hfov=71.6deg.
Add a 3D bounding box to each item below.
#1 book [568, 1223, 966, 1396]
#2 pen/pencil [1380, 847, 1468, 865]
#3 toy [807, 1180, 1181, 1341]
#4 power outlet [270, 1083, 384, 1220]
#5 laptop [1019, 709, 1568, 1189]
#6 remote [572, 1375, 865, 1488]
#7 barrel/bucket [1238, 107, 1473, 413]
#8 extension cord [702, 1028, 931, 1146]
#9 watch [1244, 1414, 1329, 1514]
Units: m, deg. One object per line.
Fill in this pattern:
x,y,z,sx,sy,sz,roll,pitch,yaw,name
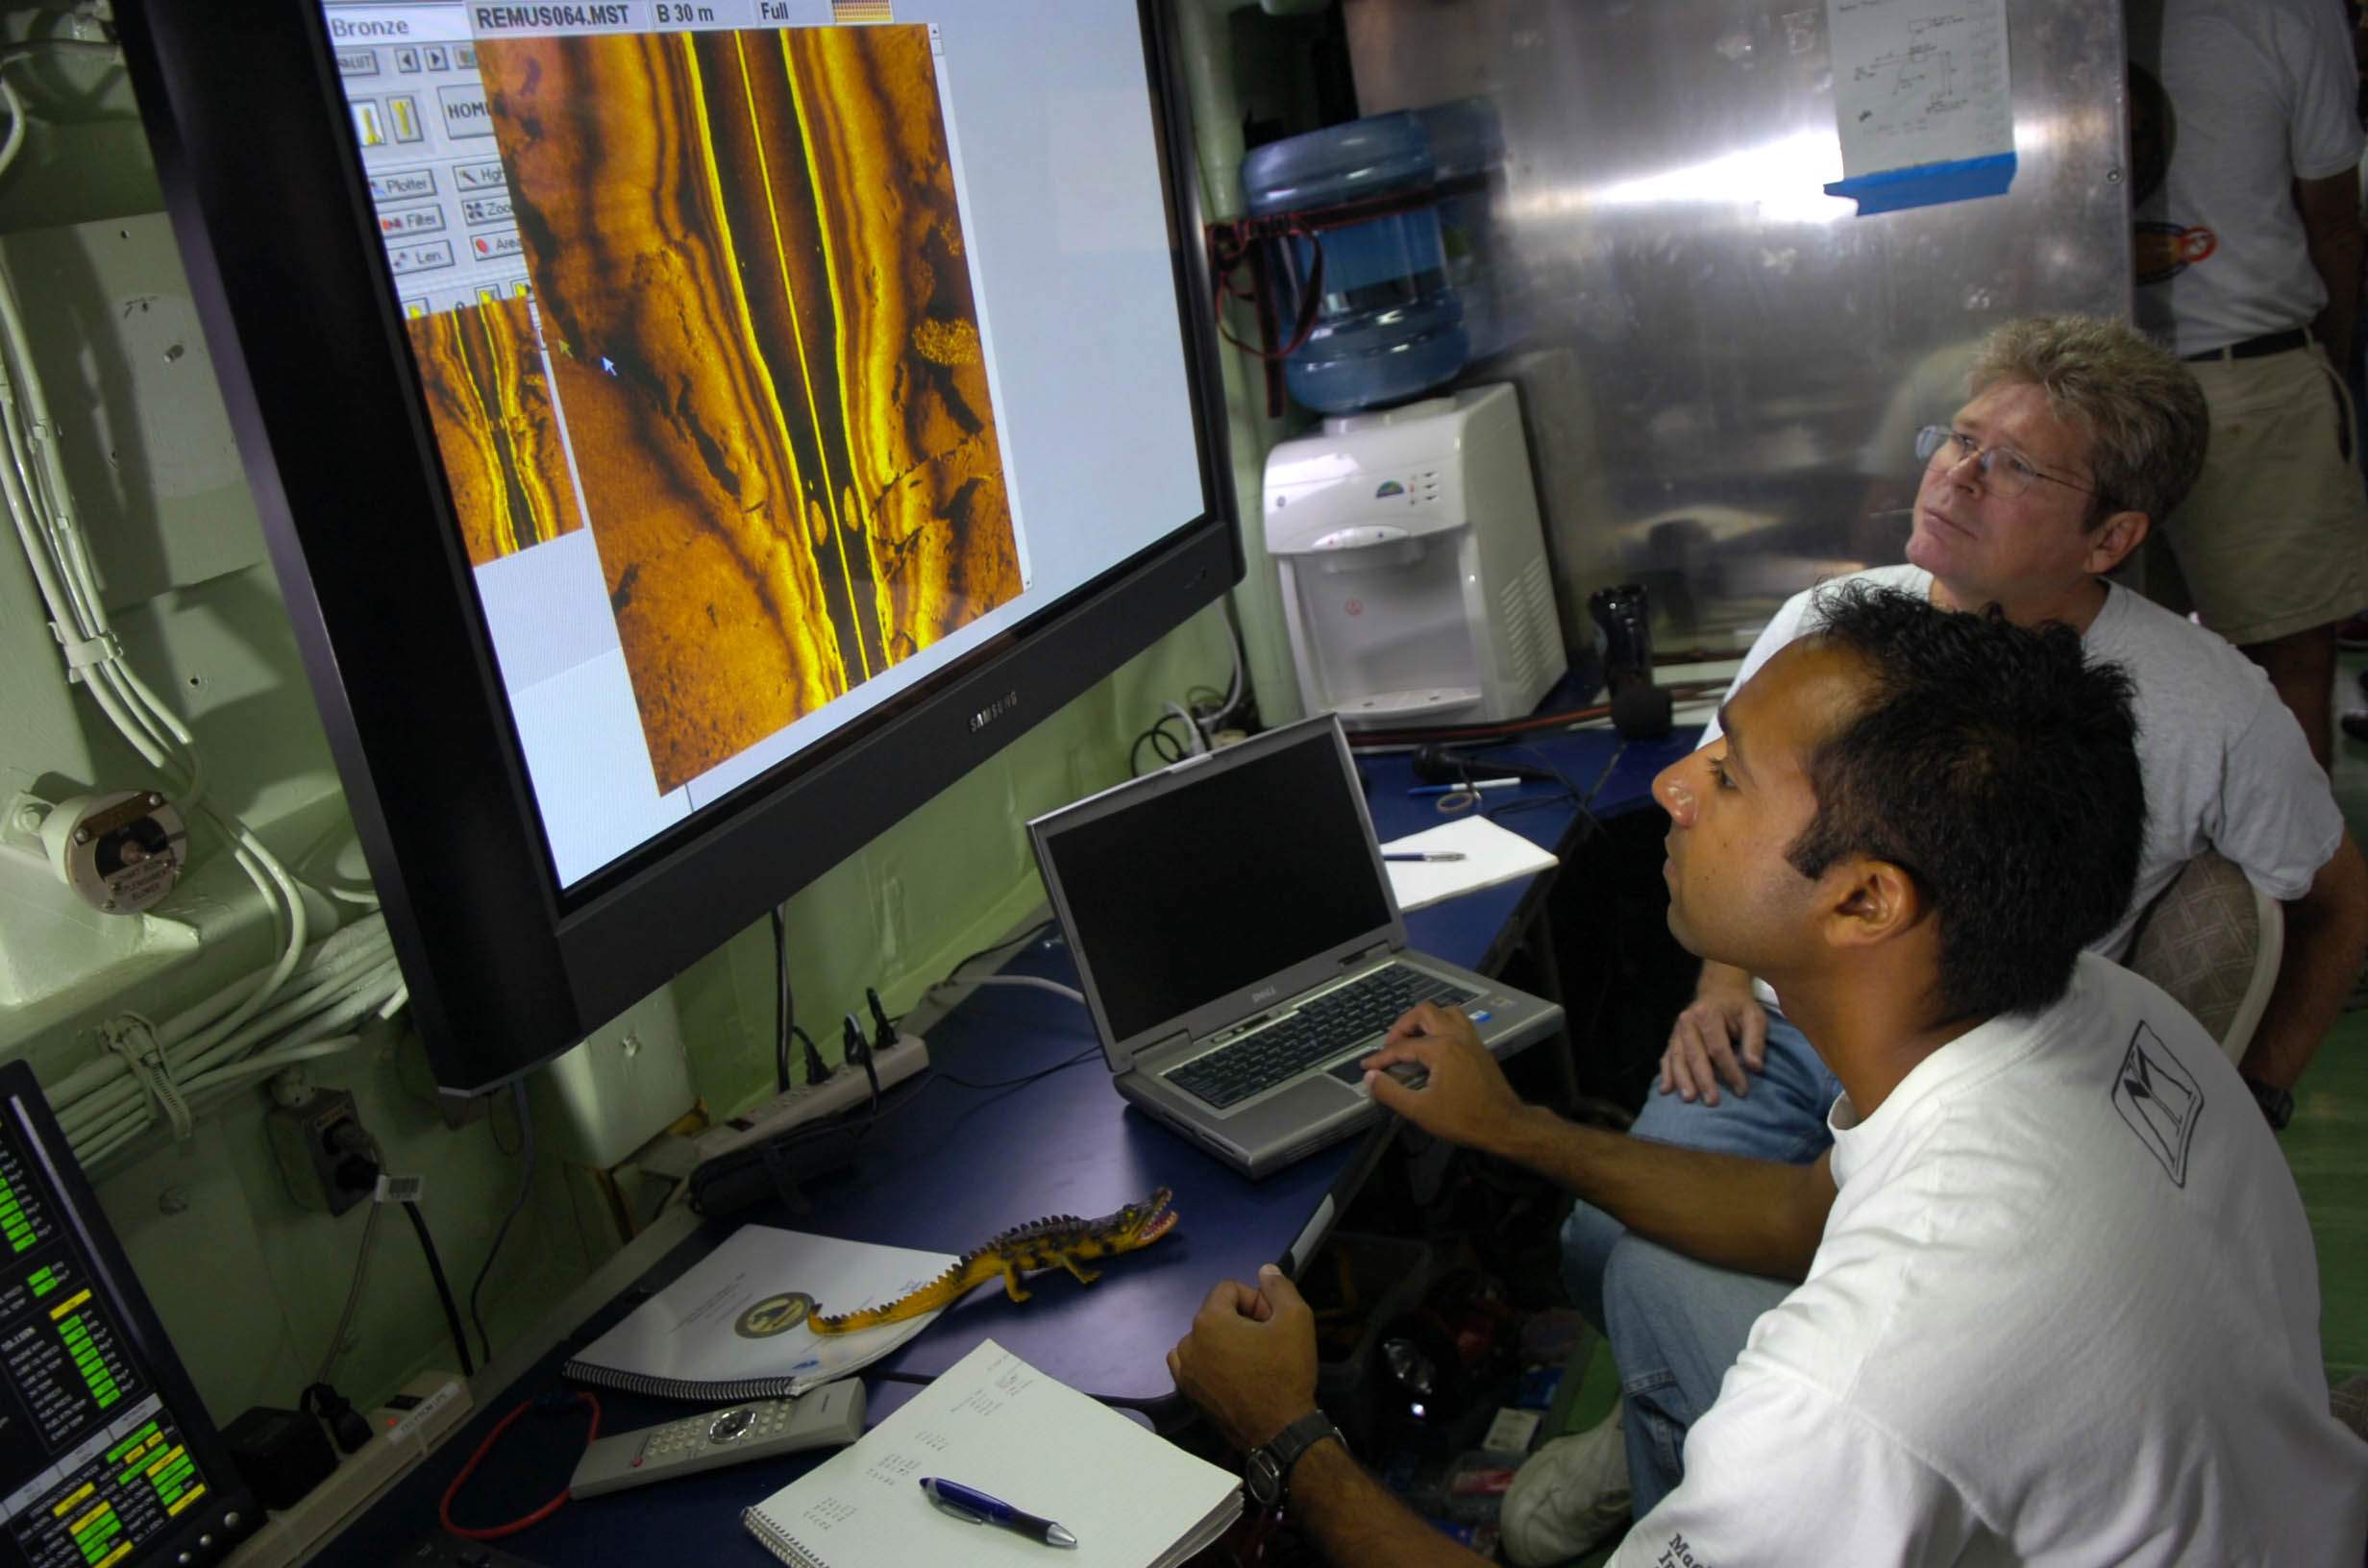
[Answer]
-0.461,0.509,1.756,0.208,0.046,0.197,3,15,29,book
0.358,0.109,2.442,0.147,0.015,0.016,-3,-19,3,pen/pencil
-0.177,0.517,1.805,0.515,0.108,0.128,-15,43,1,toy
-0.905,0.393,1.743,0.089,0.124,0.089,-8,4,-3,power outlet
0.113,0.292,2.184,0.664,0.464,0.531,-25,26,-30,laptop
-0.456,0.649,1.637,0.248,0.038,0.203,-8,13,-40,remote
0.331,-0.938,3.127,0.422,0.549,0.427,-11,13,3,barrel/bucket
-0.449,0.390,2.073,0.373,0.061,0.078,-21,25,-38,extension cord
0.101,0.673,1.630,0.087,0.085,0.052,22,21,-42,watch
